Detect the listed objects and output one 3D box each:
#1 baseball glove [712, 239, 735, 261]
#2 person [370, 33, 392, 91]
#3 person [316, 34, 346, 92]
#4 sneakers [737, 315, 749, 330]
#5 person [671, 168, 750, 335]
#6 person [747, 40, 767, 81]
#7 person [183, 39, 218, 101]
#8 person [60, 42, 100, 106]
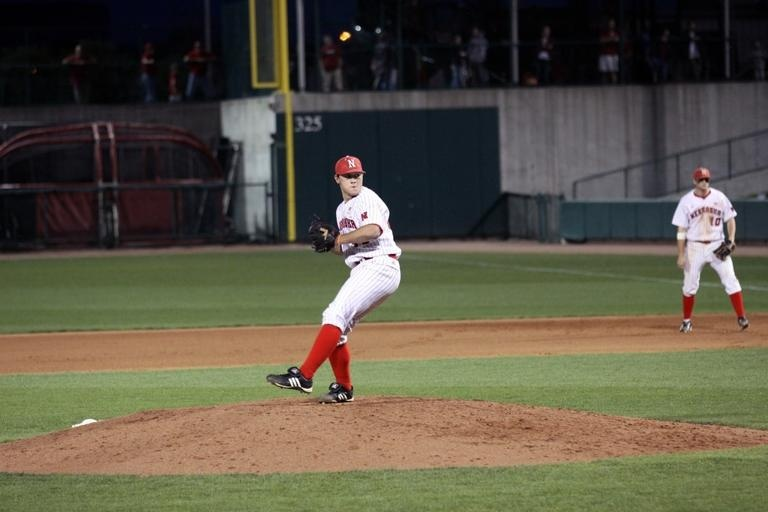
[{"bbox_3d":[6.900,-0.163,32.254,0.268,0.420,0.182,45,1,21],"label":"baseball glove"},{"bbox_3d":[-0.013,-5.373,44.037,0.556,1.531,0.316,-3,4,-29],"label":"person"},{"bbox_3d":[-1.356,-5.241,43.643,0.647,1.497,0.322,-1,3,-3],"label":"person"},{"bbox_3d":[7.325,1.306,32.535,0.135,0.256,0.492,-3,3,8],"label":"sneakers"},{"bbox_3d":[6.737,-0.153,32.708,1.426,3.304,1.155,0,3,16],"label":"person"},{"bbox_3d":[10.726,-5.502,45.455,0.377,1.070,1.049,-1,3,13],"label":"person"},{"bbox_3d":[-5.294,-5.353,46.623,0.845,1.602,1.153,-2,3,-9],"label":"person"},{"bbox_3d":[-8.702,-5.244,46.400,0.875,1.671,0.863,-3,4,-34],"label":"person"}]
